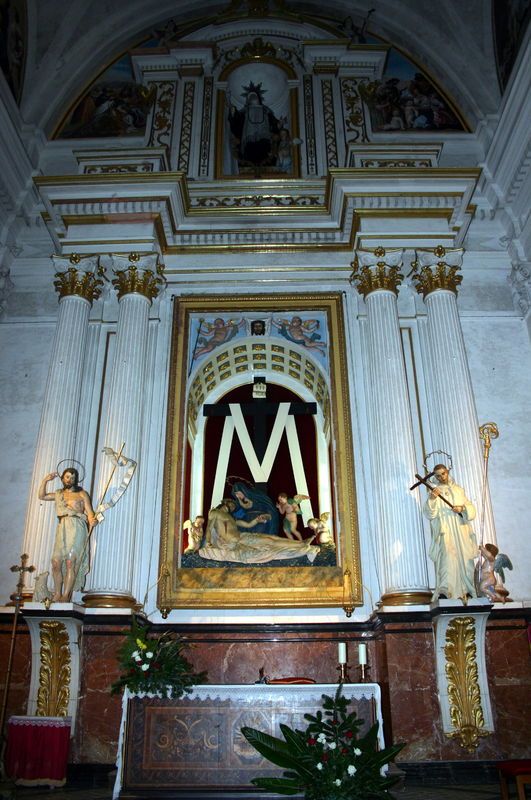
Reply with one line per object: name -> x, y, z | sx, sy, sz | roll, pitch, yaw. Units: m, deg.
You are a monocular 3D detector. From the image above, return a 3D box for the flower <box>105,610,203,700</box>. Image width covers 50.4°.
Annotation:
flower -> -0.617, 1.481, 3.108 | 0.532, 0.340, 0.479 | -3, -12, 44

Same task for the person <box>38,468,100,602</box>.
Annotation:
person -> -1.804, 1.232, 5.126 | 0.457, 1.179, 0.670 | -21, -31, 40

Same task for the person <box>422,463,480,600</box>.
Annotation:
person -> 1.631, 1.136, 4.949 | 0.420, 1.159, 0.303 | -7, -24, 15
